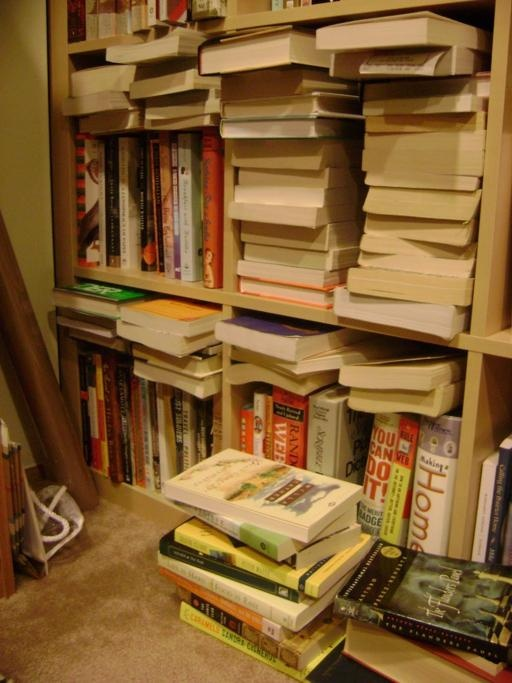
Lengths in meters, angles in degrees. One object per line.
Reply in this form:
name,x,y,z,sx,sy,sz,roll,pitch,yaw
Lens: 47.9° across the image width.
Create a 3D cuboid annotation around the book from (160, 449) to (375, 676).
book,0.030,0.294,0.911,0.362,0.261,0.248,15,21,37
